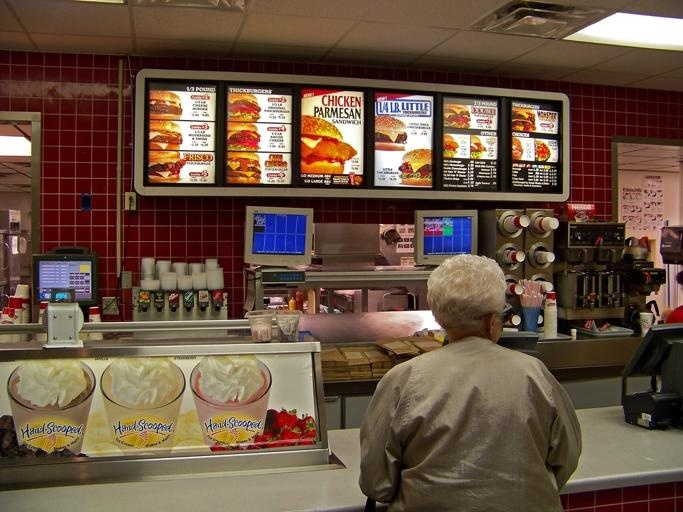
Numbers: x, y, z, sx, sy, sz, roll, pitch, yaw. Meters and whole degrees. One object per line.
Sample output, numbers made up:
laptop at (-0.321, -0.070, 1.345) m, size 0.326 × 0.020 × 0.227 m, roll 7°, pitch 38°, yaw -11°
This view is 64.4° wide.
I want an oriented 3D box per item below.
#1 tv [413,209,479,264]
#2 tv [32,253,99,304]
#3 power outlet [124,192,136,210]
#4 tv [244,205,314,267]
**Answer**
tv at (0.879, -0.160, 4.670) m, size 0.540 × 0.464 × 0.204 m, roll 5°, pitch 4°, yaw -23°
tv at (-2.228, 0.199, 4.389) m, size 0.461 × 0.352 × 0.135 m, roll -3°, pitch 2°, yaw -28°
power outlet at (-1.814, -0.468, 4.675) m, size 0.108 × 0.121 × 0.061 m, roll -3°, pitch 2°, yaw -20°
tv at (-0.500, -0.154, 4.356) m, size 0.545 × 0.485 × 0.127 m, roll -3°, pitch 2°, yaw -9°
